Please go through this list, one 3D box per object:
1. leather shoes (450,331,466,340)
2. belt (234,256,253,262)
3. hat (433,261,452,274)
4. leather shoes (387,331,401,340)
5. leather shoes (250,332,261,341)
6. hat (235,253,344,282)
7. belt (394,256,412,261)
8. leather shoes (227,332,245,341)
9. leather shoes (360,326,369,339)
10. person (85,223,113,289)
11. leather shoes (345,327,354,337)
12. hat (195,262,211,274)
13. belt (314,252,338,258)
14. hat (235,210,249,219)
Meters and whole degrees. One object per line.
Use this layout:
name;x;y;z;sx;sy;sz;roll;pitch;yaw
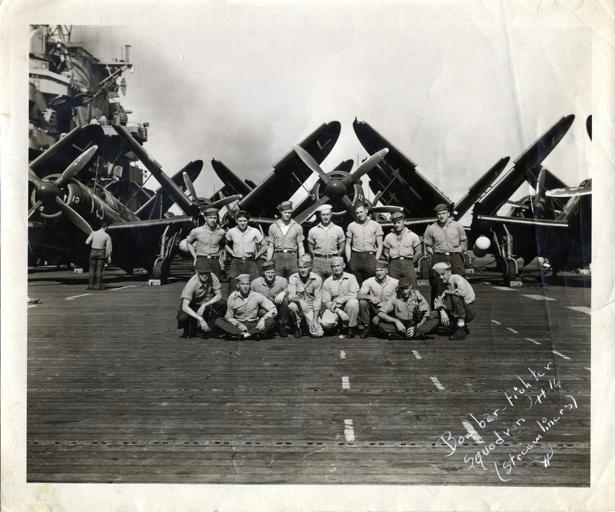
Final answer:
leather shoes;1.905;1.020;11.636;0.229;0.163;0.080;0;-4;0
belt;-0.862;0.035;12.471;0.252;0.062;0.071;4;1;-20
hat;1.755;0.160;12.020;0.196;0.137;0.330;4;1;4
leather shoes;1.108;1.004;11.550;0.193;0.088;0.058;4;1;-34
leather shoes;-0.640;1.005;11.509;0.108;0.036;0.111;-26;-43;37
hat;-0.053;0.144;12.257;0.970;0.311;1.074;4;1;-3
belt;1.315;0.029;12.553;0.219;0.052;0.034;5;1;3
leather shoes;-0.883;1.006;11.439;0.236;0.087;0.103;6;43;1
leather shoes;0.727;0.974;11.711;0.115;0.150;0.169;4;1;16
person;-3.631;0.058;15.979;0.425;0.957;0.730;4;1;-13
leather shoes;0.541;0.973;11.740;0.087;0.107;0.265;-1;-9;8
hat;-1.318;0.143;11.568;0.217;0.135;0.220;5;1;8
belt;0.248;-0.003;12.534;0.322;0.064;0.054;5;1;5
hat;-0.875;-0.556;12.469;0.165;0.100;0.246;4;1;-5
